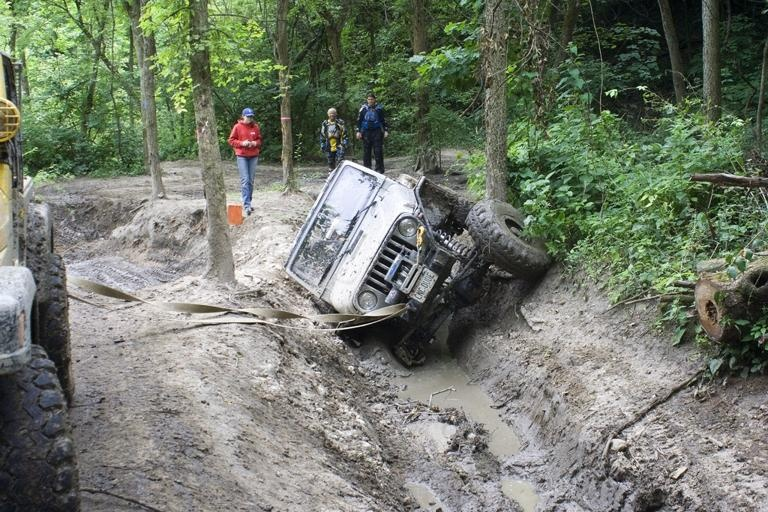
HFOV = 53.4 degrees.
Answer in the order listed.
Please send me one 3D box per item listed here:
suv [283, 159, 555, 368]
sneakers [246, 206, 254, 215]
[{"bbox_3d":[-0.252,0.060,15.919,3.364,3.622,4.776,34,-4,-11],"label":"suv"},{"bbox_3d":[-3.295,-1.119,18.681,0.181,0.270,0.596,-4,1,-8],"label":"sneakers"}]
